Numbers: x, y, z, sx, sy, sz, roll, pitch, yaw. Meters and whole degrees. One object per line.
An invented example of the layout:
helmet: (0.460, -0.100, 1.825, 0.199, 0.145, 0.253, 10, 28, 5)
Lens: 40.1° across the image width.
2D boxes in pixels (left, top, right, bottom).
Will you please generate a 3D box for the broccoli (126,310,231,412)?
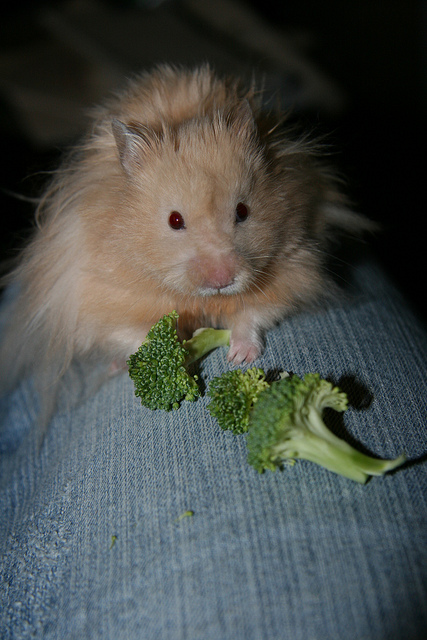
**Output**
broccoli: (-0.070, 0.117, 1.362, 0.248, 0.128, 0.184, -30, 43, 5)
